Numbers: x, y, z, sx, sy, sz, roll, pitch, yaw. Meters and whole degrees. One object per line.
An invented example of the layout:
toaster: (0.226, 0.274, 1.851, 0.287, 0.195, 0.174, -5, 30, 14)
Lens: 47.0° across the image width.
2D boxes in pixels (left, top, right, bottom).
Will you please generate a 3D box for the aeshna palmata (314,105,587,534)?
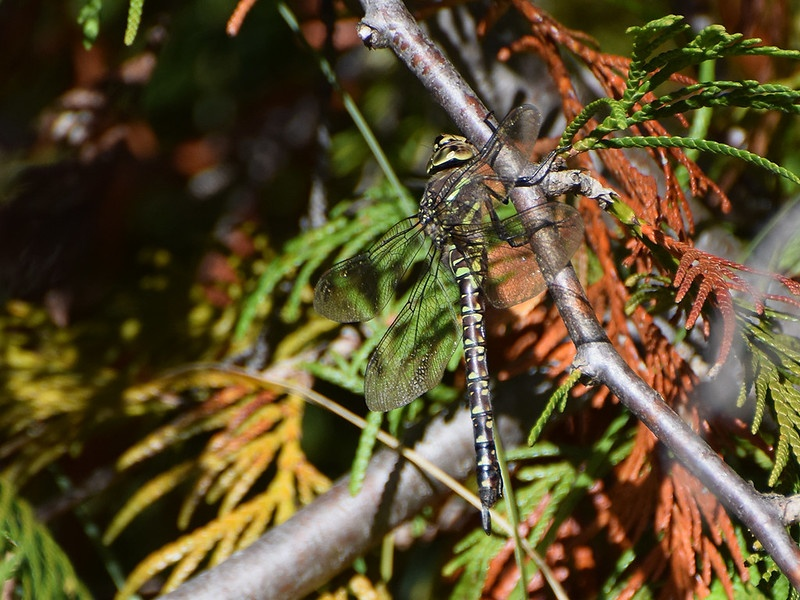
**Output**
aeshna palmata: (0.105, -0.066, 2.272, 0.727, 0.235, 1.027, -19, -56, -20)
